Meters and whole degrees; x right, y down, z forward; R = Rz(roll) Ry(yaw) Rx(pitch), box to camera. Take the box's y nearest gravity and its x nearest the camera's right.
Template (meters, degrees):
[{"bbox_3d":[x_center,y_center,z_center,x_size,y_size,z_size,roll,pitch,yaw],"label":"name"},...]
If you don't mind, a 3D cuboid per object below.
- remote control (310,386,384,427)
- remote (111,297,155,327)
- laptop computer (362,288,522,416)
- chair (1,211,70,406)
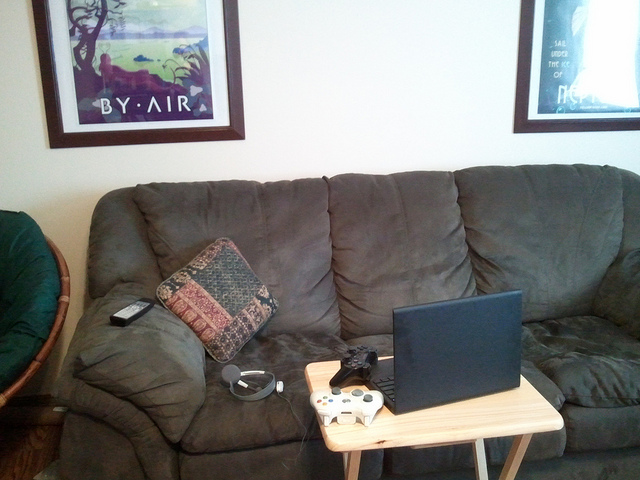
[{"bbox_3d":[0.083,0.545,1.763,0.179,0.066,0.121,0,26,2],"label":"remote control"},{"bbox_3d":[-0.763,0.291,2.181,0.060,0.027,0.142,9,21,20],"label":"remote"},{"bbox_3d":[0.419,0.332,1.915,0.500,0.366,0.409,-6,14,-17],"label":"laptop computer"},{"bbox_3d":[-1.324,0.298,2.449,0.362,0.782,0.353,-2,16,-31],"label":"chair"}]
